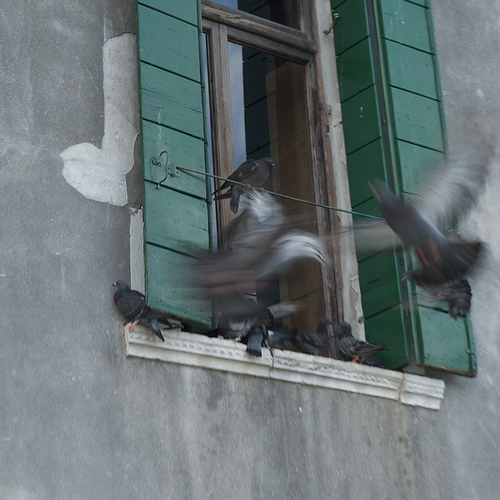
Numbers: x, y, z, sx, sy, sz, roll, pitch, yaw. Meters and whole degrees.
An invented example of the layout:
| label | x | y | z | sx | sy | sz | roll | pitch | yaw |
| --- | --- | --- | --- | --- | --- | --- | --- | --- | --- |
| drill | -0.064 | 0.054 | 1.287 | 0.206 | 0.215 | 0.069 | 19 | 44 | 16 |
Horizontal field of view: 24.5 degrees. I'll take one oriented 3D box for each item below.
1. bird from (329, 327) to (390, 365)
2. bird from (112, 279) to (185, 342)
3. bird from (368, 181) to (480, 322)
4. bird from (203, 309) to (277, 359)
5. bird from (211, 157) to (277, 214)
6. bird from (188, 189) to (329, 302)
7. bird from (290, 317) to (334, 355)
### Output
| label | x | y | z | sx | sy | sz | roll | pitch | yaw |
| --- | --- | --- | --- | --- | --- | --- | --- | --- | --- |
| bird | 0.553 | 0.483 | 5.819 | 0.319 | 0.210 | 0.106 | -4 | -17 | 33 |
| bird | -0.478 | 0.261 | 5.246 | 0.322 | 0.205 | 0.110 | 9 | 14 | 14 |
| bird | 0.893 | 0.028 | 6.056 | 0.323 | 0.677 | 0.297 | -14 | 47 | 42 |
| bird | 0.028 | 0.408 | 5.590 | 0.313 | 0.160 | 0.417 | 19 | 6 | 23 |
| bird | -0.021 | -0.364 | 6.071 | 0.328 | 0.136 | 0.255 | -13 | 47 | 14 |
| bird | -0.001 | 0.000 | 5.696 | 0.362 | 0.554 | 0.562 | -28 | 12 | -39 |
| bird | 0.326 | 0.442 | 5.817 | 0.238 | 0.221 | 0.082 | 10 | -18 | -19 |
